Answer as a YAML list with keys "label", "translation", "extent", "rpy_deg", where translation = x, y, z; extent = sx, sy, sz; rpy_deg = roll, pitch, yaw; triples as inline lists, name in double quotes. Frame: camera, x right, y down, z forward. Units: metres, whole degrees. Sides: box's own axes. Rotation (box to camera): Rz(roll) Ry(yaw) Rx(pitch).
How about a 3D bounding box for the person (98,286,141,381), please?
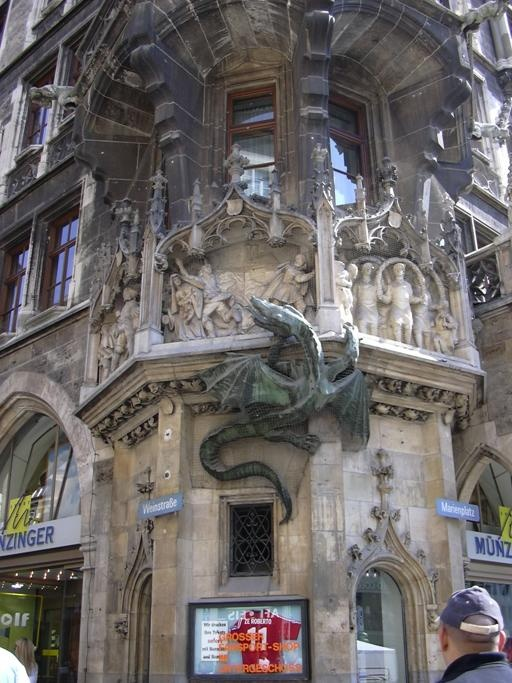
- label: "person"
  translation: [-2.235, -0.135, 11.454]
  extent: [0.357, 1.674, 0.856]
  rpy_deg: [23, -46, -21]

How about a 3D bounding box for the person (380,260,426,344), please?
- label: "person"
  translation: [2.246, -0.590, 10.608]
  extent: [0.842, 1.343, 0.327]
  rpy_deg: [14, -32, -26]

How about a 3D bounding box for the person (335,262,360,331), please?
- label: "person"
  translation: [1.309, -0.619, 10.010]
  extent: [0.411, 1.168, 0.581]
  rpy_deg: [-3, -28, 9]

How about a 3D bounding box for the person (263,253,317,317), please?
- label: "person"
  translation: [0.510, -0.893, 10.383]
  extent: [0.812, 0.657, 1.033]
  rpy_deg: [13, -60, 12]

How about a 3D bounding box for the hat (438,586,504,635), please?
- label: "hat"
  translation: [0.584, 0.721, 1.864]
  extent: [0.114, 0.082, 0.161]
  rpy_deg: [5, -21, 9]
